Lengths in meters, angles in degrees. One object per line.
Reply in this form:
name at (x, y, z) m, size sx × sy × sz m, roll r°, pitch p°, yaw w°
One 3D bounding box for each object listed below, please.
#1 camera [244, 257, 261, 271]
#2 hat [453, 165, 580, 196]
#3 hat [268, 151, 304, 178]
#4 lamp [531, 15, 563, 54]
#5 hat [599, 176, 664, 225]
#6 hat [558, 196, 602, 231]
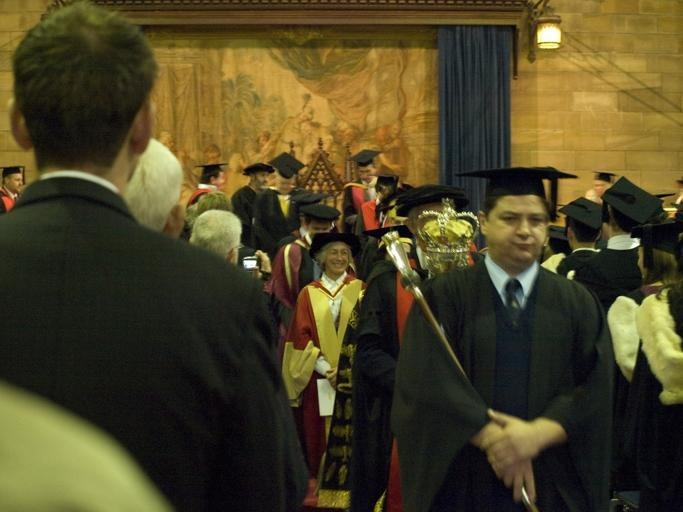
camera at (-0.554, 0.043, 4.915) m, size 0.087 × 0.082 × 0.146 m, roll -2°, pitch -4°, yaw 1°
hat at (0.736, -0.337, 3.539) m, size 0.270 × 0.076 × 0.273 m, roll 0°, pitch 2°, yaw -23°
hat at (-0.684, -1.143, 9.979) m, size 0.390 × 0.096 × 0.408 m, roll 42°, pitch 42°, yaw 15°
lamp at (2.950, -3.205, 11.404) m, size 0.345 × 0.368 × 0.343 m, roll -6°, pitch 8°, yaw -44°
hat at (1.929, -0.368, 5.304) m, size 0.352 × 0.097 × 0.356 m, roll 34°, pitch 64°, yaw 22°
hat at (1.751, -0.265, 5.843) m, size 0.250 × 0.096 × 0.259 m, roll 30°, pitch 35°, yaw 29°
